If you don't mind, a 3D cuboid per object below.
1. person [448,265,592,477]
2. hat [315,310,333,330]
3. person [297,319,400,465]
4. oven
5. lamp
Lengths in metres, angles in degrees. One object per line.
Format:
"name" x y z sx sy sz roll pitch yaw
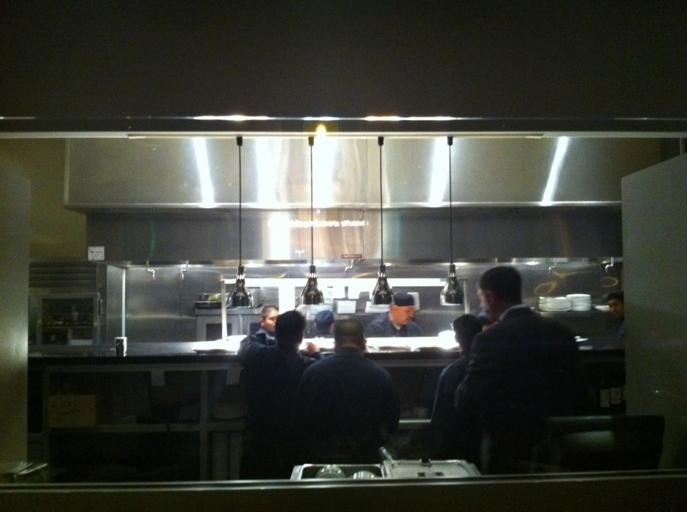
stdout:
"person" 0.802 0.509 3.429 0.553 0.912 0.241 -2 -3 16
"hat" -0.120 0.413 4.815 0.092 0.112 0.125 1 19 5
"person" 0.020 0.714 3.691 0.480 0.853 0.473 3 6 -1
"oven" -1.552 0.290 4.378 0.497 0.485 0.290 -1 2 5
"lamp" 0.046 -0.242 5.355 1.615 1.230 1.100 -1 -3 6
